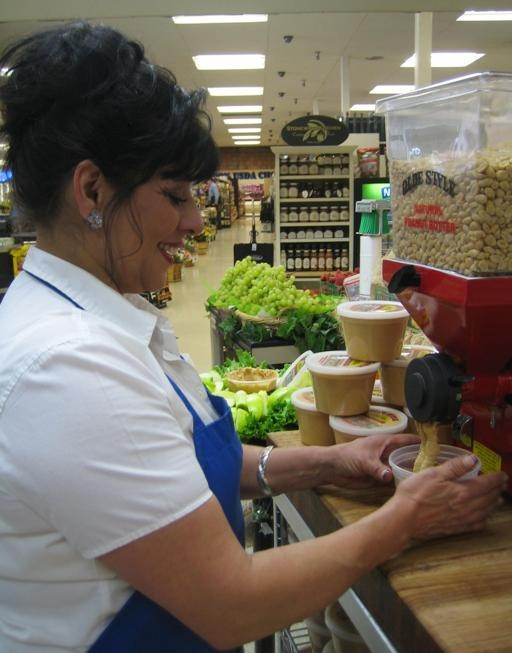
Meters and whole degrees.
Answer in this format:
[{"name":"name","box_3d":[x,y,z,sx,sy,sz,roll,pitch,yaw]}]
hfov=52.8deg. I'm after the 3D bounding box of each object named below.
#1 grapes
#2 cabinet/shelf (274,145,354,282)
[{"name":"grapes","box_3d":[0.096,-0.263,3.622,0.456,0.270,0.856,-15,15,-24]},{"name":"cabinet/shelf","box_3d":[0.893,-1.672,7.779,1.269,1.963,0.750,-2,29,3]}]
